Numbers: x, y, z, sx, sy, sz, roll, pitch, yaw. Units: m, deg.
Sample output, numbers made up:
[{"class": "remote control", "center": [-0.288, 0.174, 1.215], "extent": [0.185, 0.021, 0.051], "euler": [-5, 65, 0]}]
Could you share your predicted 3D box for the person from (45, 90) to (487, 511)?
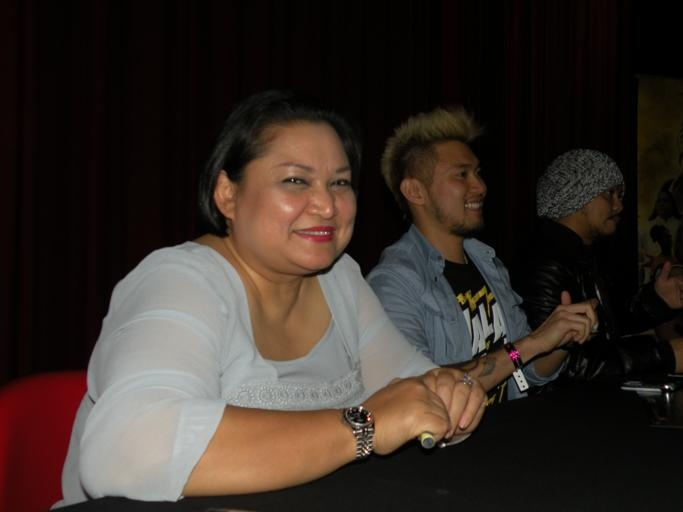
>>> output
[{"class": "person", "center": [-0.196, 0.082, 1.786], "extent": [1.008, 1.331, 1.048], "euler": [-15, -19, 37]}]

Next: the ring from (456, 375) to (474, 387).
[{"class": "ring", "center": [0.322, 0.326, 1.491], "extent": [0.022, 0.011, 0.027], "euler": [15, 8, -9]}]

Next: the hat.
[{"class": "hat", "center": [1.240, -0.364, 3.209], "extent": [0.349, 0.302, 0.420], "euler": [-39, 8, -23]}]

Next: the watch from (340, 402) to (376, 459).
[{"class": "watch", "center": [0.042, 0.379, 1.240], "extent": [0.064, 0.106, 0.098], "euler": [0, 21, -17]}]
